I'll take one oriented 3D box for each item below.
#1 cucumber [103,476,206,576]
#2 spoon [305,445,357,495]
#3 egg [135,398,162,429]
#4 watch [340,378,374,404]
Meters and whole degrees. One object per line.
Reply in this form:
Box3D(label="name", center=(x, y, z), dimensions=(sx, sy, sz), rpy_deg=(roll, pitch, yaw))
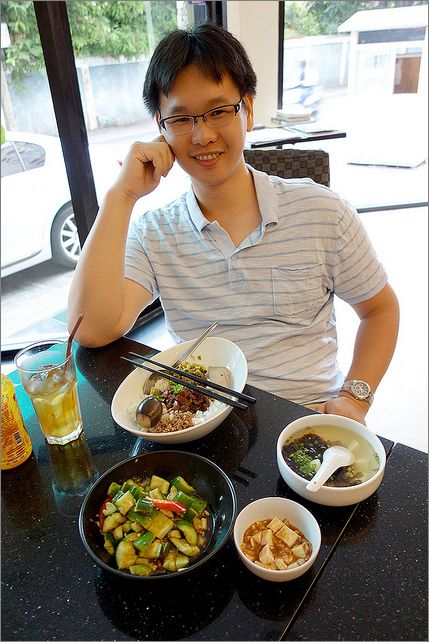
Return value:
Box3D(label="cucumber", center=(-0.082, 0.262, 0.595), dimensions=(0.145, 0.046, 0.159), rpy_deg=(-3, 28, 4))
Box3D(label="spoon", center=(0.166, 0.207, 0.641), dimensions=(0.034, 0.014, 0.094), rpy_deg=(23, 31, 22))
Box3D(label="egg", center=(-0.112, 0.157, 0.771), dimensions=(0.038, 0.040, 0.052), rpy_deg=(7, 49, -10))
Box3D(label="watch", center=(0.339, 0.163, 1.058), dimensions=(0.068, 0.077, 0.047), rpy_deg=(26, 72, 23))
